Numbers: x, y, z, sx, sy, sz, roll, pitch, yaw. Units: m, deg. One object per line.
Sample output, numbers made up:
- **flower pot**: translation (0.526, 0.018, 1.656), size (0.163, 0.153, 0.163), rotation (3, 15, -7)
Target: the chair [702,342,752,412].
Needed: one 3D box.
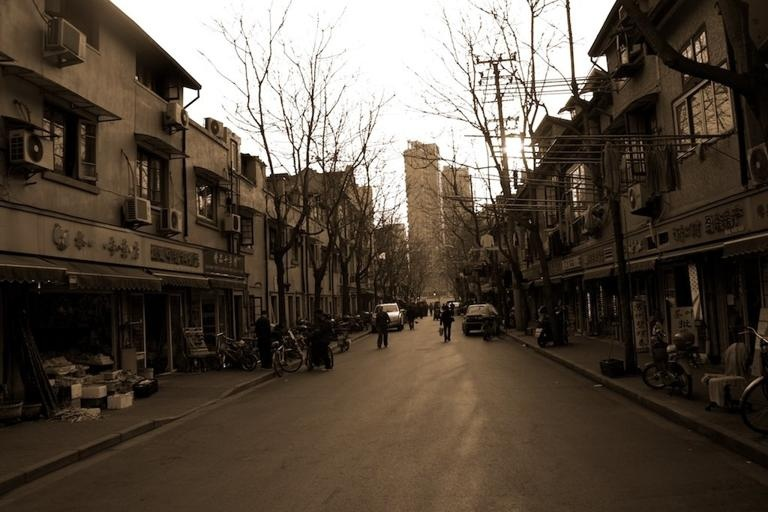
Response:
- **chair**: translation (7.531, 2.707, 16.499), size (0.777, 1.886, 1.454), rotation (-1, -2, 3)

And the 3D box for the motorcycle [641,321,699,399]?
- **motorcycle**: translation (7.113, 2.622, 18.625), size (0.861, 1.593, 2.298), rotation (-1, -5, -3)

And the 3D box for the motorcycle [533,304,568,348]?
- **motorcycle**: translation (6.959, 3.076, 31.302), size (0.885, 1.297, 1.976), rotation (-6, -15, 27)

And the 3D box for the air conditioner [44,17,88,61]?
- **air conditioner**: translation (-8.593, -5.765, 20.216), size (0.492, 1.006, 1.029), rotation (-7, -11, 19)

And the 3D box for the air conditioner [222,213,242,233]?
- **air conditioner**: translation (-6.306, -1.289, 30.793), size (0.537, 1.002, 1.100), rotation (-2, -6, 11)
